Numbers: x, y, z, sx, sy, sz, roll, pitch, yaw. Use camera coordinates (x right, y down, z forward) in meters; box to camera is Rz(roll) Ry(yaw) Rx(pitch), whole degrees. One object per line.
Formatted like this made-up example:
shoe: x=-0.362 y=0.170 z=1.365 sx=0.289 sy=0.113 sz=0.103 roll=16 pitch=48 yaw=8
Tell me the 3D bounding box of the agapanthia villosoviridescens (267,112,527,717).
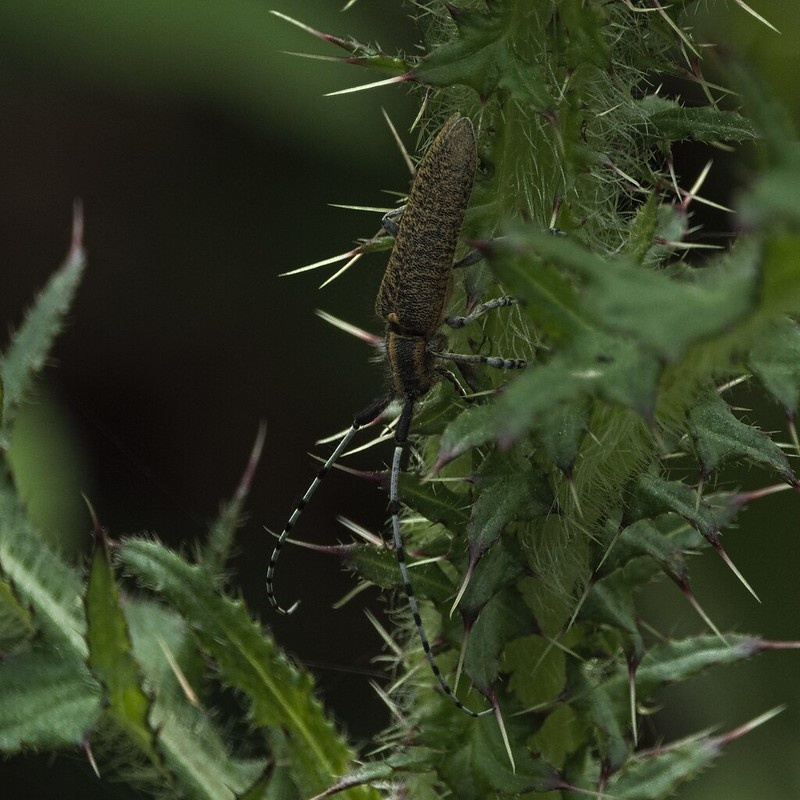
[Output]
agapanthia villosoviridescens: x=0.002 y=0.003 z=1.780 sx=0.416 sy=0.557 sz=0.903 roll=-3 pitch=-68 yaw=15
